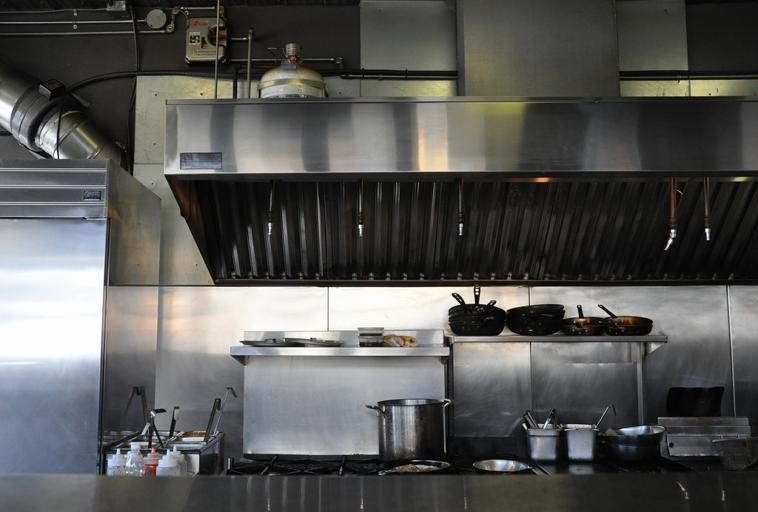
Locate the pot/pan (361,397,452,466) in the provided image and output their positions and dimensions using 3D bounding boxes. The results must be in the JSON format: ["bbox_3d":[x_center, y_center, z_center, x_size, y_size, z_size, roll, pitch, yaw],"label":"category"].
[{"bbox_3d":[0.248,1.223,6.783,0.694,0.401,0.406,0,-14,-2],"label":"pot/pan"}]

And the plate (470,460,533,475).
[{"bbox_3d":[0.829,1.421,6.612,0.280,0.037,0.178,-3,-7,29],"label":"plate"}]

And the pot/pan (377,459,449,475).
[{"bbox_3d":[0.234,1.404,6.516,0.347,0.070,0.439,-3,-4,45],"label":"pot/pan"}]

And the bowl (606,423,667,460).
[{"bbox_3d":[1.784,1.310,6.866,0.415,0.228,0.278,-1,-3,12],"label":"bowl"}]

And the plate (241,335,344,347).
[{"bbox_3d":[-0.630,0.629,7.127,0.718,0.060,0.199,0,-3,-5],"label":"plate"}]

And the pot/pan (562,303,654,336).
[{"bbox_3d":[1.657,0.508,7.178,0.290,0.153,0.502,-5,-11,32],"label":"pot/pan"}]

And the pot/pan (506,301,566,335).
[{"bbox_3d":[1.139,0.447,7.150,0.273,0.126,0.299,-2,0,-9],"label":"pot/pan"}]

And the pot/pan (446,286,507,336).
[{"bbox_3d":[0.725,0.425,7.254,0.326,0.172,0.477,0,-11,0],"label":"pot/pan"}]

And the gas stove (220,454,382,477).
[{"bbox_3d":[-0.497,1.425,6.749,1.033,0.087,0.671,0,-3,-2],"label":"gas stove"}]
